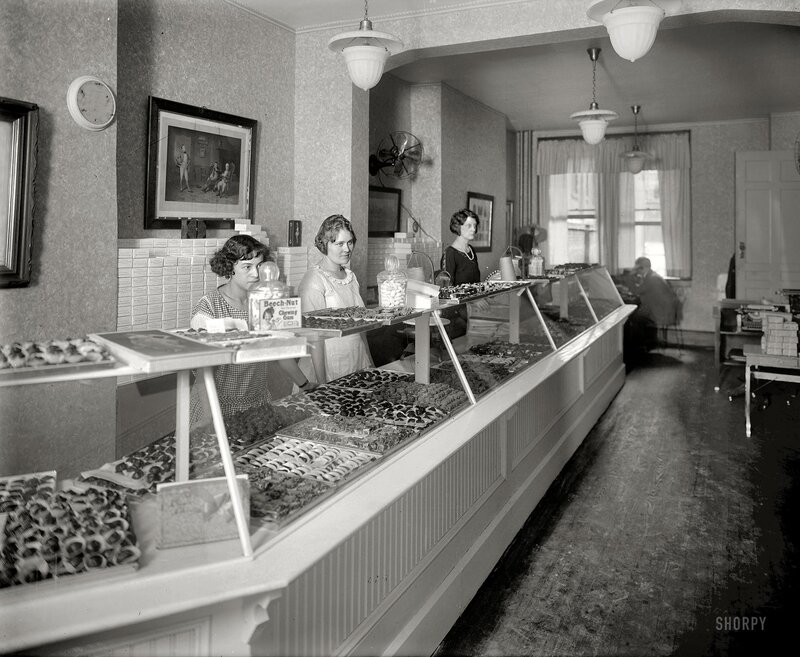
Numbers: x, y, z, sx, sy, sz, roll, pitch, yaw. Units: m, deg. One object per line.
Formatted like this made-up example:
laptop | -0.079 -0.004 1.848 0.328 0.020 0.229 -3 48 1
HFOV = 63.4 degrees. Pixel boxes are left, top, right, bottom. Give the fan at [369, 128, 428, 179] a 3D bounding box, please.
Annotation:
fan | -0.004 -1.813 6.794 0.300 0.469 0.915 4 9 27

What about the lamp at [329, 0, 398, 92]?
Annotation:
lamp | -0.215 -1.656 3.847 0.405 0.376 0.310 -1 8 -1

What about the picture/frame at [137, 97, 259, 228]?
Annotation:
picture/frame | -1.347 -1.103 4.535 0.047 0.818 1.100 9 11 23

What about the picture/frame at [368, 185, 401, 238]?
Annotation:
picture/frame | -0.222 -1.178 6.805 0.595 0.444 0.054 4 4 32

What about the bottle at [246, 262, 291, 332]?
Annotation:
bottle | -0.427 -0.100 2.108 0.119 0.234 0.125 5 13 -1
